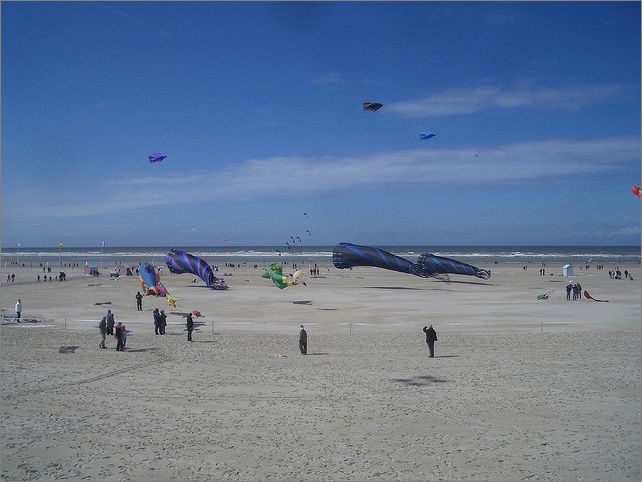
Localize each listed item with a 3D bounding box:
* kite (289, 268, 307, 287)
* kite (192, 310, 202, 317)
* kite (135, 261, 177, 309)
[{"bbox_3d":[-1.652,2.670,44.067,1.452,0.813,2.239,-6,-8,-10],"label":"kite"},{"bbox_3d":[-7.095,4.174,34.143,0.505,0.239,0.599,13,-14,24],"label":"kite"},{"bbox_3d":[-11.761,3.173,43.075,1.142,3.412,1.328,-24,25,22],"label":"kite"}]
